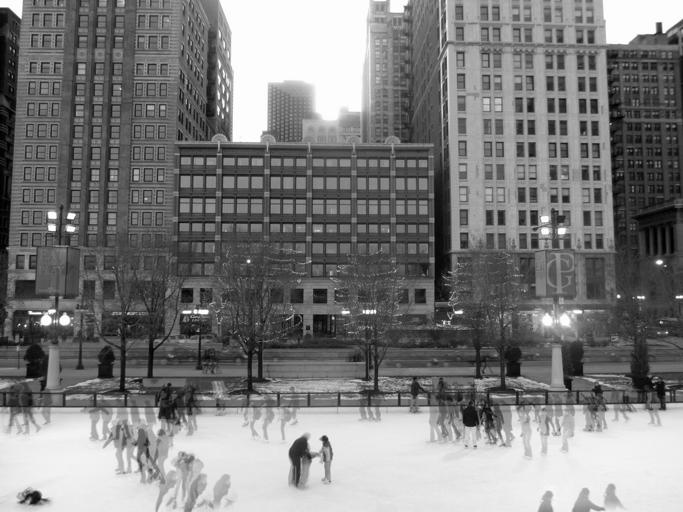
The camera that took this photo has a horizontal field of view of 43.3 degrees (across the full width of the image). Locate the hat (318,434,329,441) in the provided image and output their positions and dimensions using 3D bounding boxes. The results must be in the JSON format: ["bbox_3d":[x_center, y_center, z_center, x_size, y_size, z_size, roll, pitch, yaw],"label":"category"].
[{"bbox_3d":[-1.314,13.247,62.459,0.659,0.559,0.853,7,-10,-27],"label":"hat"}]
